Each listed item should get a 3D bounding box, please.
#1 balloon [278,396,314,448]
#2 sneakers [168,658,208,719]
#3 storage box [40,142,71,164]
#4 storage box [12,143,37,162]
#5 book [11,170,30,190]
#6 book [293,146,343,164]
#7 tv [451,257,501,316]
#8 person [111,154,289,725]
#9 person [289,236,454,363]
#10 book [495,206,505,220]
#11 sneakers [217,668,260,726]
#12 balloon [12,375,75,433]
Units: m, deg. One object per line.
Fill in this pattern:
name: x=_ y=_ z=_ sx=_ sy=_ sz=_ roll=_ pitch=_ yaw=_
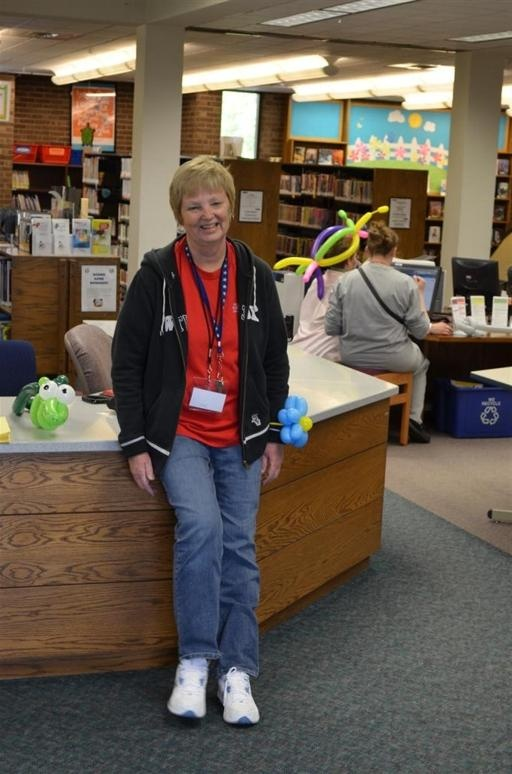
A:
balloon: x=0.136 y=0.118 z=2.171 sx=0.133 sy=0.102 sz=0.186 roll=-5 pitch=51 yaw=-13
sneakers: x=-0.224 y=1.015 z=1.923 sx=0.091 sy=0.105 sz=0.259 roll=2 pitch=-2 yaw=-3
storage box: x=-4.981 y=-5.786 z=14.259 sx=0.661 sy=0.423 sz=0.471 roll=-6 pitch=14 yaw=-30
storage box: x=-5.683 y=-5.775 z=14.143 sx=0.448 sy=0.276 sz=0.453 roll=1 pitch=8 yaw=0
book: x=-5.867 y=-5.220 z=14.343 sx=0.397 sy=0.513 sz=0.260 roll=-1 pitch=8 yaw=-25
book: x=1.523 y=-5.713 z=14.002 sx=1.282 sy=0.466 sz=0.434 roll=3 pitch=7 yaw=4
tv: x=2.378 y=-1.085 z=6.225 sx=0.638 sy=0.738 sz=0.257 roll=10 pitch=26 yaw=31
person: x=-0.202 y=0.170 z=2.014 sx=0.603 sy=1.929 sz=0.427 roll=3 pitch=7 yaw=4
person: x=1.345 y=-0.977 z=5.568 sx=0.946 sy=1.234 sz=0.712 roll=-2 pitch=52 yaw=17
book: x=6.141 y=-4.430 z=14.530 sx=0.315 sy=0.296 sz=0.072 roll=2 pitch=-2 yaw=-2
sneakers: x=-0.077 y=1.082 z=2.028 sx=0.128 sy=0.119 sz=0.278 roll=7 pitch=-7 yaw=-18
balloon: x=-0.786 y=0.071 z=2.130 sx=0.182 sy=0.201 sz=0.399 roll=4 pitch=-1 yaw=-34
